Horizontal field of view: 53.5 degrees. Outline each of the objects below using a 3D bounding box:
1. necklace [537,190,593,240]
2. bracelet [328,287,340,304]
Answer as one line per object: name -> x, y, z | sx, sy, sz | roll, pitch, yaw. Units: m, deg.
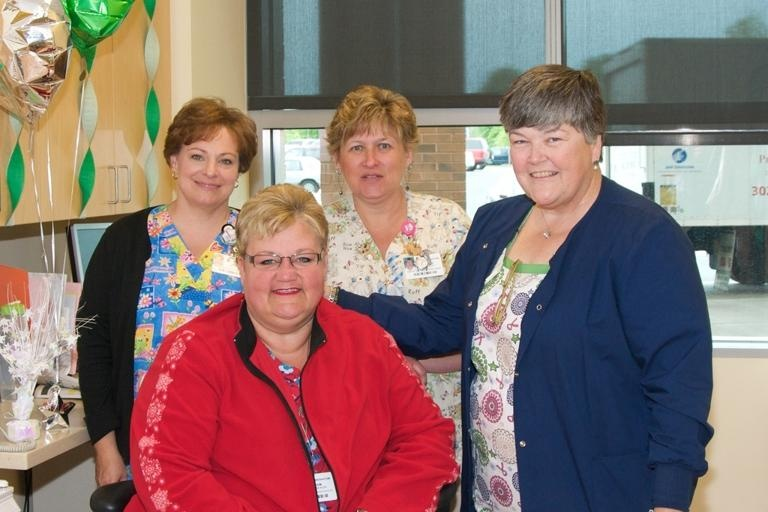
necklace -> 0.759, -0.162, 3.153 | 0.174, 0.082, 0.236 | -1, -41, -13
bracelet -> -0.237, 0.183, 3.525 | 0.050, 0.066, 0.023 | 2, -22, 0
